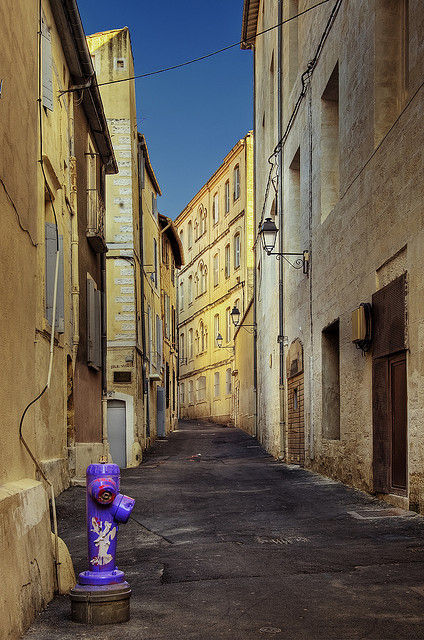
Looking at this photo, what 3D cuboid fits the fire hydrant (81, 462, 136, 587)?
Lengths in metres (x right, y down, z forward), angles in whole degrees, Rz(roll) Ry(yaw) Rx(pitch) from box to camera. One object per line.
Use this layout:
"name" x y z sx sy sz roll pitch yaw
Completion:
"fire hydrant" -0.622 1.210 4.807 0.302 0.716 0.246 2 -9 -11

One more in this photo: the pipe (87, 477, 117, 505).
"pipe" -0.645 0.986 4.775 0.106 0.176 0.139 0 -5 -13

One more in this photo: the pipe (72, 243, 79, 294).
"pipe" -2.438 -0.915 14.358 0.079 0.919 0.262 -2 -9 12
